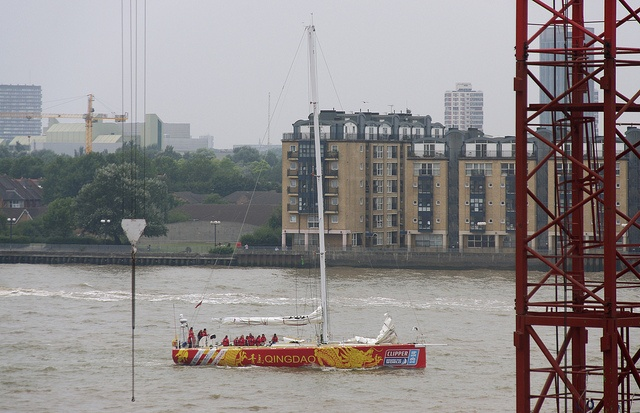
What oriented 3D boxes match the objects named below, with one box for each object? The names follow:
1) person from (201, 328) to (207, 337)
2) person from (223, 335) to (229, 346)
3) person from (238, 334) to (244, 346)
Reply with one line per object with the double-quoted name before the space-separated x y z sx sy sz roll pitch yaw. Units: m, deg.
"person" -12.033 12.937 188.932 0.710 0.909 0.553 6 14 21
"person" -9.597 13.698 188.556 0.795 0.951 0.718 3 6 13
"person" -8.148 13.665 188.844 0.844 1.096 0.638 2 -16 -4
